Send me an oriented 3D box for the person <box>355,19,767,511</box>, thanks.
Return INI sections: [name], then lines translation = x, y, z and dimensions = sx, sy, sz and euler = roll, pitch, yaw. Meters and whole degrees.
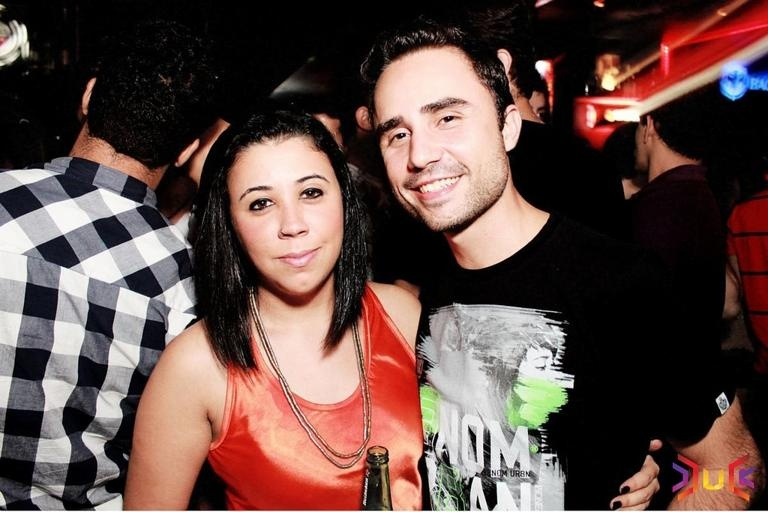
[person]
translation = 0.802, 0.009, 2.987
dimensions = 1.580, 2.398, 0.989
euler = -6, 14, -3
